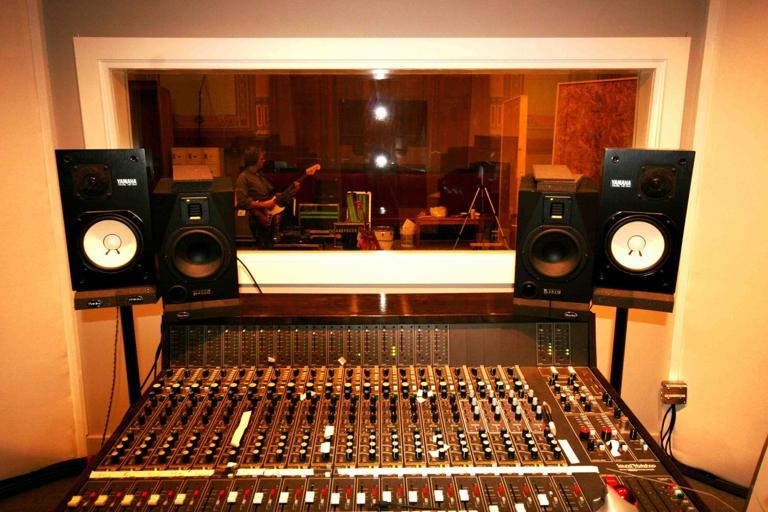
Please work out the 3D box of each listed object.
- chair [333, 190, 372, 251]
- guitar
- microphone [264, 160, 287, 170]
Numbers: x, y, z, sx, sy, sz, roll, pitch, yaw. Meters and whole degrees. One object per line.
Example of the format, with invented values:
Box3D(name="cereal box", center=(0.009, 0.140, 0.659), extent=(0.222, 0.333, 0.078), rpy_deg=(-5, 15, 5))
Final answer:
Box3D(name="chair", center=(-0.241, -0.277, 4.918), extent=(0.464, 0.458, 0.451), rpy_deg=(-2, 5, -13))
Box3D(name="guitar", center=(-0.878, -0.556, 5.278), extent=(0.329, 0.459, 0.603), rpy_deg=(11, 18, 41))
Box3D(name="microphone", center=(-0.983, -0.829, 5.541), extent=(0.171, 0.087, 0.111), rpy_deg=(3, 4, 3))
